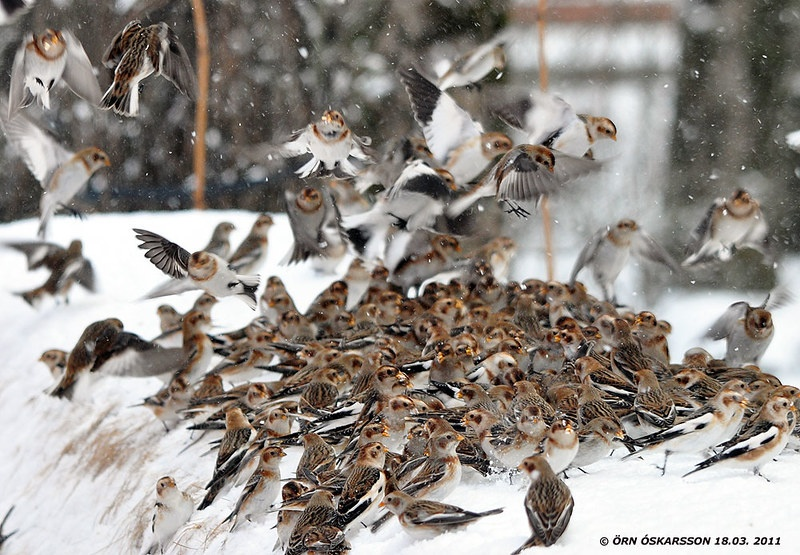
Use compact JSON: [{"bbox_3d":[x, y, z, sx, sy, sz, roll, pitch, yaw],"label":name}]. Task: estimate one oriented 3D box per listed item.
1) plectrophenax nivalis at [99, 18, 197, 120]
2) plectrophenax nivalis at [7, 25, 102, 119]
[{"bbox_3d":[-3.083,-2.614,13.938,1.108,1.347,0.731,10,-24,-14],"label":"plectrophenax nivalis"},{"bbox_3d":[-4.517,-2.634,14.398,1.007,0.780,1.035,-23,-8,-24],"label":"plectrophenax nivalis"}]
